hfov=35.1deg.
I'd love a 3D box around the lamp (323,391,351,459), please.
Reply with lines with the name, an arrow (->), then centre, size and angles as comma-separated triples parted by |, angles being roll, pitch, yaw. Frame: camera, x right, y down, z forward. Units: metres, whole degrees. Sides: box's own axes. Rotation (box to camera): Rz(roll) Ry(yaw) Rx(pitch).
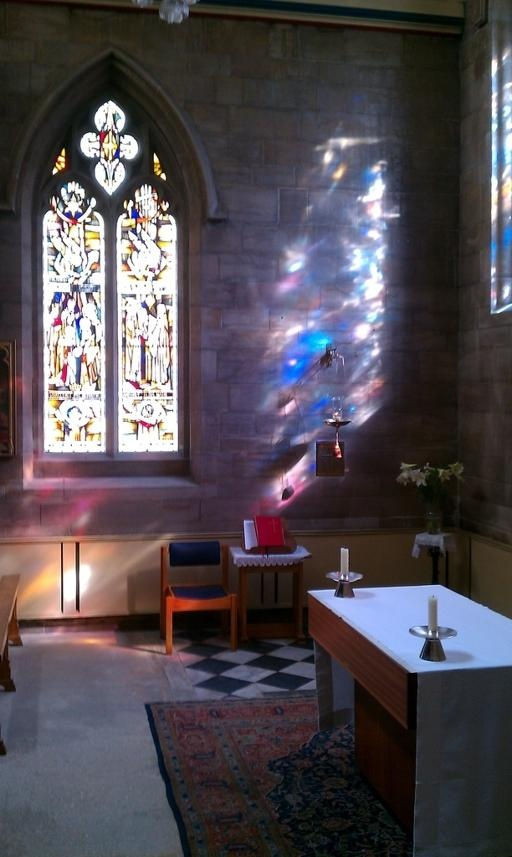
lamp -> 0.597, -0.021, 6.083 | 0.183, 0.468, 0.376 | 0, 1, 6

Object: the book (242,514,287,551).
book -> 0.054, 0.722, 5.632 | 0.292, 0.218, 0.246 | 0, 1, 1

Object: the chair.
chair -> -0.392, 1.125, 5.614 | 0.545, 0.658, 0.872 | 0, 1, -3

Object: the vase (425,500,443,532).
vase -> 1.277, 0.638, 5.895 | 0.096, 0.217, 0.148 | 0, 1, 4

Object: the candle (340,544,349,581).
candle -> 0.366, 0.567, 3.406 | 0.035, 0.135, 0.071 | 0, 1, 4

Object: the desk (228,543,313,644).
desk -> 0.075, 1.138, 5.787 | 0.531, 0.645, 0.641 | 0, 1, -2

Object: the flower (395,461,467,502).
flower -> 1.299, 0.381, 6.143 | 0.498, 0.251, 0.566 | 1, 1, 14
